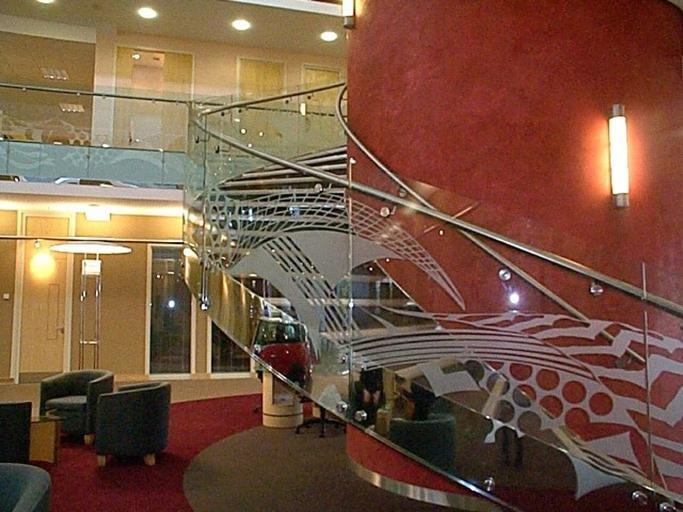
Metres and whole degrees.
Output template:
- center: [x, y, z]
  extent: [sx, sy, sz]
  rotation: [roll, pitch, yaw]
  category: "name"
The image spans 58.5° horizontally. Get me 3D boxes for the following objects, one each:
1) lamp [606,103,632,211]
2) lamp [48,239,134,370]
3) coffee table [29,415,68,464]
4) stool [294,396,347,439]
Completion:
- center: [2.148, -0.779, 4.710]
  extent: [0.140, 0.853, 0.083]
  rotation: [-1, 0, 14]
  category: "lamp"
- center: [-3.844, 0.797, 9.303]
  extent: [0.976, 1.700, 1.686]
  rotation: [-1, 0, -26]
  category: "lamp"
- center: [-2.956, 1.814, 6.165]
  extent: [0.409, 0.443, 0.396]
  rotation: [2, 2, 10]
  category: "coffee table"
- center: [-0.257, 2.045, 7.403]
  extent: [0.528, 0.648, 0.565]
  rotation: [2, 0, -11]
  category: "stool"
